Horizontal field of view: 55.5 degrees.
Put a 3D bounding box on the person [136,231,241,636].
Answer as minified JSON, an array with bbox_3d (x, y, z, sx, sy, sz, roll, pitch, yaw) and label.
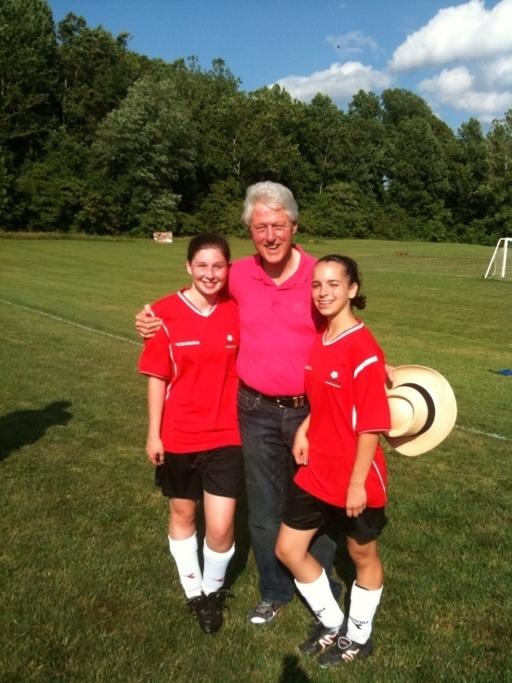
[{"bbox_3d":[-0.333,0.632,2.853,0.607,1.910,0.475,5,8,28],"label":"person"}]

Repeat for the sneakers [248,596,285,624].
[{"bbox_3d":[0.044,1.570,2.830,0.070,0.080,0.209,52,11,22],"label":"sneakers"}]

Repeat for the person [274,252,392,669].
[{"bbox_3d":[0.411,0.613,2.454,0.525,2.101,0.548,5,8,24],"label":"person"}]

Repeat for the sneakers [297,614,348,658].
[{"bbox_3d":[0.328,1.597,2.630,0.126,0.308,0.109,41,16,-27],"label":"sneakers"}]

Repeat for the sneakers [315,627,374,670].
[{"bbox_3d":[0.448,1.580,2.532,0.307,0.141,0.113,-11,20,-7],"label":"sneakers"}]

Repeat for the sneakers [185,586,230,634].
[{"bbox_3d":[-0.265,1.529,2.789,0.104,0.127,0.285,-16,-2,-21],"label":"sneakers"}]
